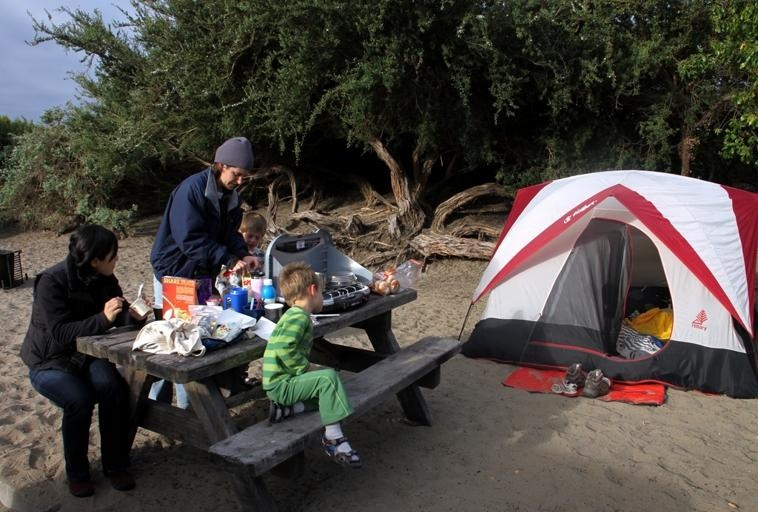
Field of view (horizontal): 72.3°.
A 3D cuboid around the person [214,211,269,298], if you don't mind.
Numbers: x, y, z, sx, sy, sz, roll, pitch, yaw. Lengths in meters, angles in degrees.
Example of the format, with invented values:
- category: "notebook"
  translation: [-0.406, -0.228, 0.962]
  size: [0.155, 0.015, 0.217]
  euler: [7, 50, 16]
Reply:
- category: "person"
  translation: [-1.506, -0.007, 5.635]
  size: [0.535, 0.888, 0.517]
  euler: [4, 20, -6]

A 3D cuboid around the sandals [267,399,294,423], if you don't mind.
- category: "sandals"
  translation: [-0.812, 1.251, 4.207]
  size: [0.226, 0.098, 0.137]
  euler: [-3, 9, -30]

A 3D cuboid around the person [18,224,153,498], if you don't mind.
- category: "person"
  translation: [-2.482, 0.841, 4.744]
  size: [1.069, 2.324, 1.011]
  euler: [1, 2, 24]

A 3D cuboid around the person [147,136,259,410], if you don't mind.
- category: "person"
  translation: [-1.689, 0.322, 5.058]
  size: [1.029, 2.838, 0.995]
  euler: [12, 16, 27]

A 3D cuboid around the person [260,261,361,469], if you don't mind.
- category: "person"
  translation: [-0.567, 0.865, 4.275]
  size: [0.739, 1.537, 0.628]
  euler: [0, 12, -3]
